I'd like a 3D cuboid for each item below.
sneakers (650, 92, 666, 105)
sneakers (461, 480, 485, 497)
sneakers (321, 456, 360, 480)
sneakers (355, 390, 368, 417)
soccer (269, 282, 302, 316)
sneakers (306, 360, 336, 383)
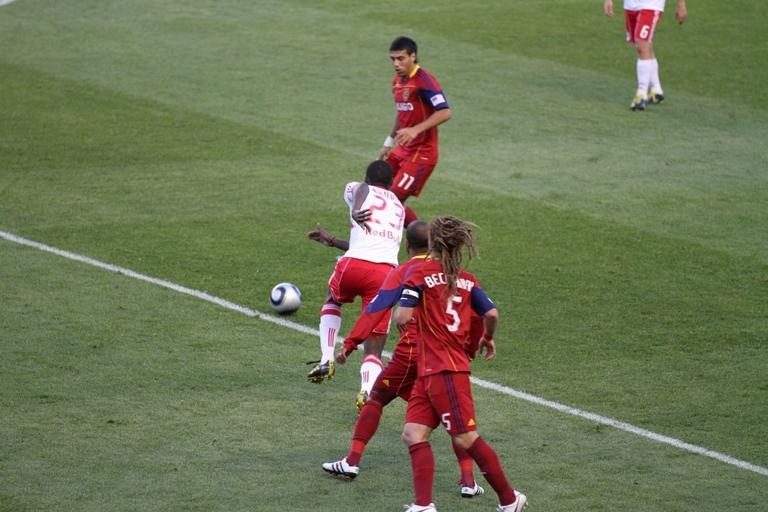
[{"bbox_3d":[3.934,-2.323,21.527,0.145,0.112,0.252,-2,16,-7],"label":"sneakers"},{"bbox_3d":[0.865,2.372,14.939,0.110,0.117,0.280,5,8,43],"label":"sneakers"},{"bbox_3d":[-0.451,2.159,14.983,0.440,0.213,0.158,13,-34,14],"label":"sneakers"},{"bbox_3d":[-0.255,1.549,15.609,0.171,0.216,0.214,3,-9,9],"label":"sneakers"},{"bbox_3d":[-1.175,0.525,17.125,0.384,0.363,0.364,6,-15,-20],"label":"soccer"},{"bbox_3d":[-0.667,1.231,15.642,0.178,0.170,0.361,18,-23,-38],"label":"sneakers"}]
